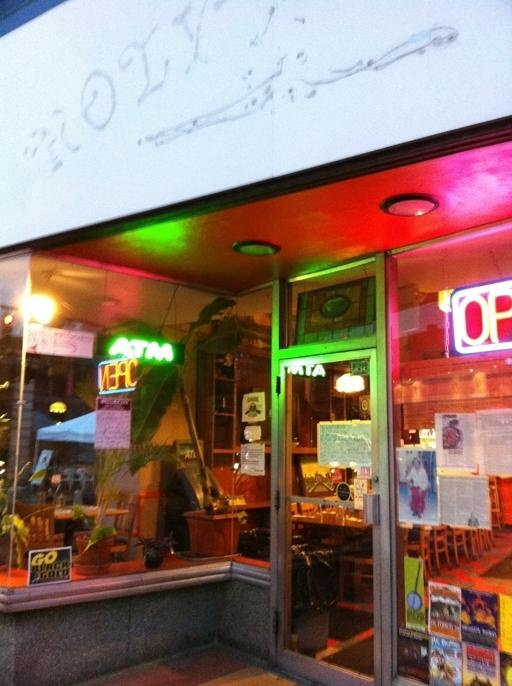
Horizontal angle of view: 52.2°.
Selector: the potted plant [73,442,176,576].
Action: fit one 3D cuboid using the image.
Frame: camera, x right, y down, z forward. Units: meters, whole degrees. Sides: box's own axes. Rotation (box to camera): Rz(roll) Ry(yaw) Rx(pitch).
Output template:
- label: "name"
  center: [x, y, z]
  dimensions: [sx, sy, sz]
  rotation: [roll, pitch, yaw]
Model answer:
- label: "potted plant"
  center: [-0.849, 1.106, 3.365]
  dimensions: [0.532, 0.883, 0.519]
  rotation: [-24, -41, 31]
